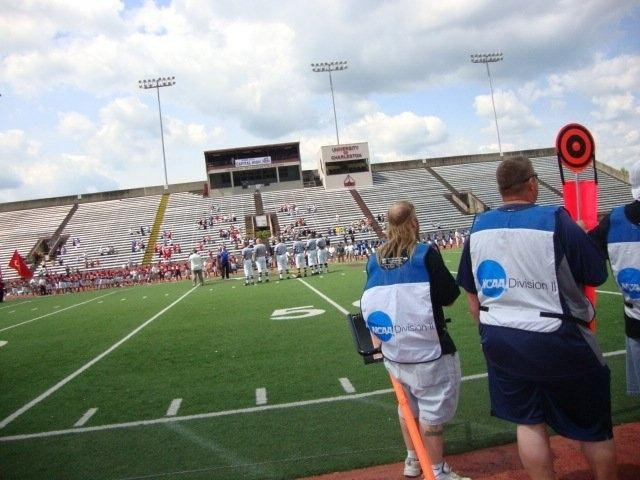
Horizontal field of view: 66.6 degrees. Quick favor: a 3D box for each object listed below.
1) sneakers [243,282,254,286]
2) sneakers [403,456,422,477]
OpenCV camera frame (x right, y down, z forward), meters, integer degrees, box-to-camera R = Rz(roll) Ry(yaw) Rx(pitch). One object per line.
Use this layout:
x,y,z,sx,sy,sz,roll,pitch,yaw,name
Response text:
-2.887,1.751,19.408,0.394,0.188,0.129,8,-9,-19,sneakers
0.675,1.693,3.639,0.073,0.092,0.209,1,-7,16,sneakers
